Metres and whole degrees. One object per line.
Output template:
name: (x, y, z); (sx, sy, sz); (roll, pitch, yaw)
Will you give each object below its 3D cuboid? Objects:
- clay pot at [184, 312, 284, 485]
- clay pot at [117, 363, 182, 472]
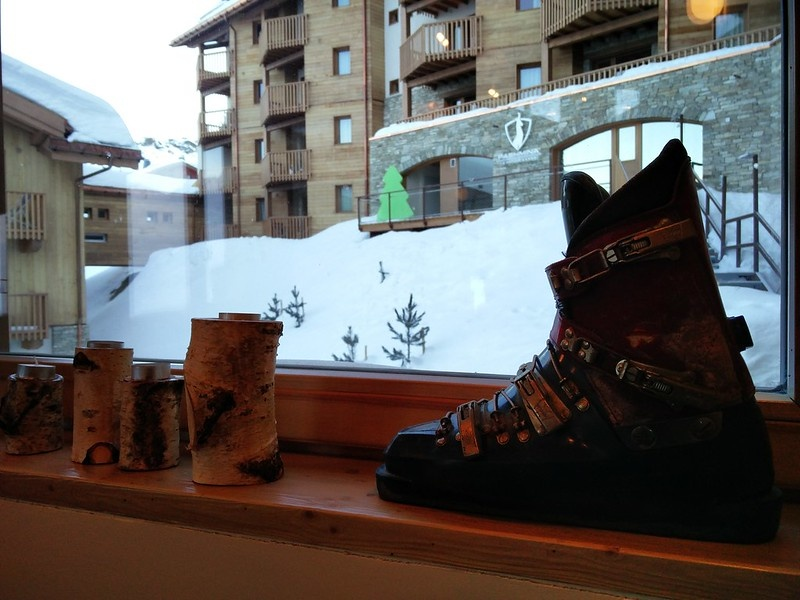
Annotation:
clay pot: (-0.279, 0.155, 1.283); (0.172, 0.275, 0.157); (3, 7, 0)
clay pot: (-0.440, 0.197, 1.347); (0.106, 0.188, 0.117); (16, 16, 39)
